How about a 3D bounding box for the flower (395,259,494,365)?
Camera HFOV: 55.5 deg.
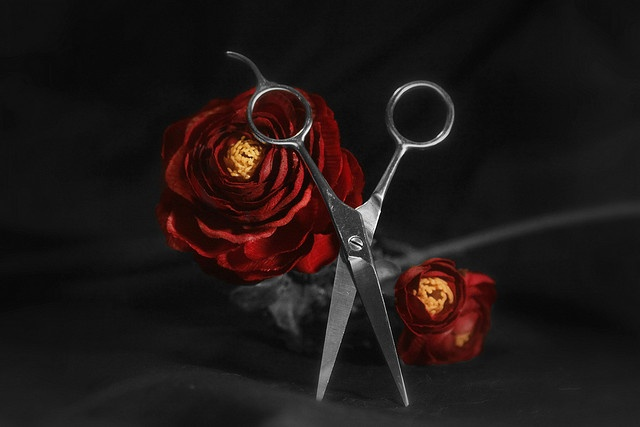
[{"bbox_3d":[0.190,0.139,0.909,0.125,0.176,0.100,0,-87,6],"label":"flower"}]
